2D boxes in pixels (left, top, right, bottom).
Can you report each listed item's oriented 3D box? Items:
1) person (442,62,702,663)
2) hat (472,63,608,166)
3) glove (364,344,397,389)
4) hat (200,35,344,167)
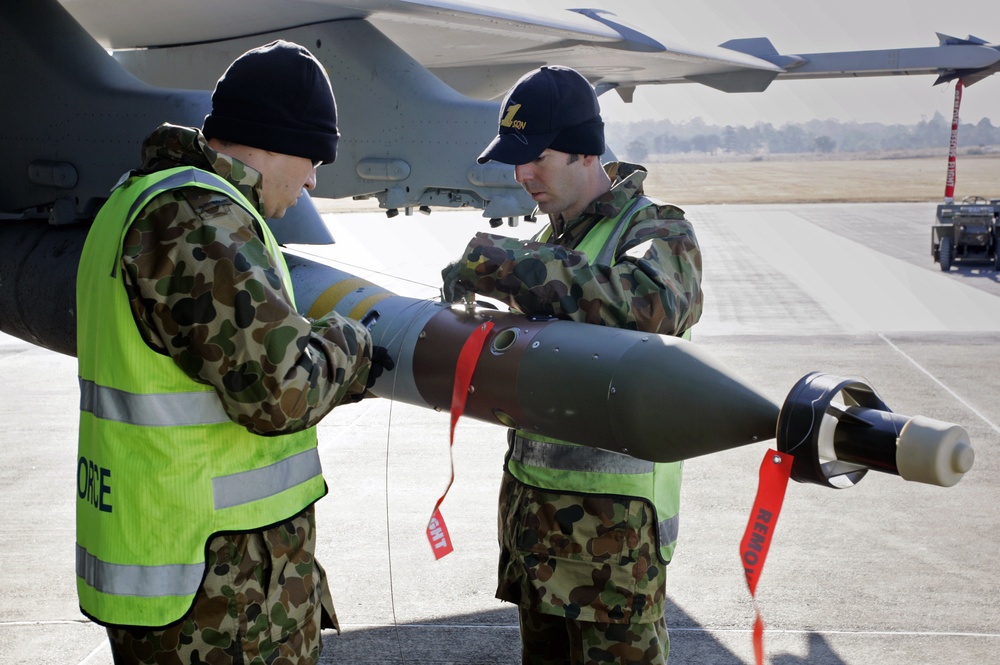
[{"bbox_3d":[0.367,0.259,4.137,1.038,2.929,0.700,1,9,12],"label":"person"},{"bbox_3d":[0.213,-1.006,4.256,0.675,0.440,0.471,-9,18,-23],"label":"hat"},{"bbox_3d":[-0.568,0.154,4.242,0.134,0.176,0.045,25,20,-4],"label":"glove"},{"bbox_3d":[-0.965,-0.997,3.854,0.592,0.522,0.583,6,10,24],"label":"hat"}]
